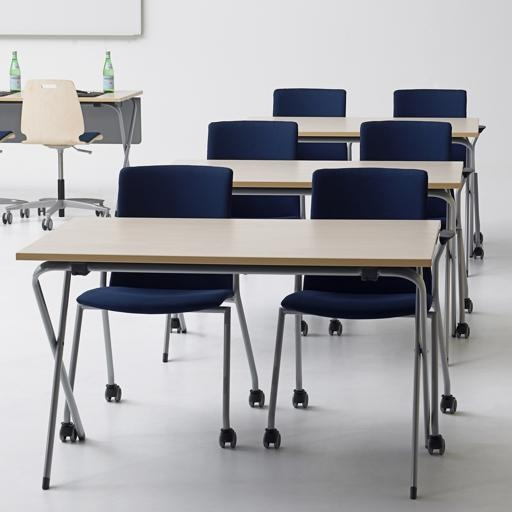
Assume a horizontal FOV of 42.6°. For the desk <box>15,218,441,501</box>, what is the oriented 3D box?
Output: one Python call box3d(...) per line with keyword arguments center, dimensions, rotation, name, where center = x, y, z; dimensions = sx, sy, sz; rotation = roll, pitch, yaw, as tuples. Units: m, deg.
box3d(center=(-0.065, 0.399, 1.971), dimensions=(1.076, 0.942, 0.691), rotation=(0, 10, 6), name="desk")
